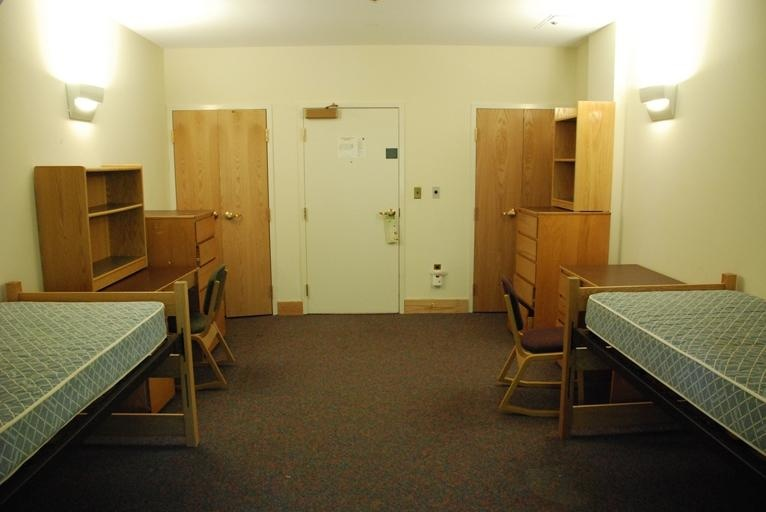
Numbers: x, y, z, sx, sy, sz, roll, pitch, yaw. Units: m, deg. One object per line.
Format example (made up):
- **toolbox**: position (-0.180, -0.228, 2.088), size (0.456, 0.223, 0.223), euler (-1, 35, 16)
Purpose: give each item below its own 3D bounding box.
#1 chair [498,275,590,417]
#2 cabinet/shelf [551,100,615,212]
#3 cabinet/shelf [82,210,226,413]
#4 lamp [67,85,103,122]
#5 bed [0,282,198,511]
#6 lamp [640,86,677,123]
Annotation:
- **chair**: position (1.073, 0.780, 4.675), size (0.973, 1.145, 0.823), euler (-1, 5, 6)
- **cabinet/shelf**: position (2.043, -1.001, 5.686), size (0.427, 1.262, 1.113), euler (0, 6, 5)
- **cabinet/shelf**: position (-1.788, 0.427, 4.339), size (0.429, 1.048, 1.506), euler (-1, 10, -5)
- **lamp**: position (-2.531, -1.297, 4.778), size (0.273, 0.298, 0.070), euler (-2, 52, -30)
- **bed**: position (-1.594, 0.834, 3.572), size (1.114, 0.856, 1.012), euler (-5, 15, -18)
- **lamp**: position (2.357, -1.318, 4.893), size (0.210, 0.292, 0.361), euler (-2, 11, -2)
